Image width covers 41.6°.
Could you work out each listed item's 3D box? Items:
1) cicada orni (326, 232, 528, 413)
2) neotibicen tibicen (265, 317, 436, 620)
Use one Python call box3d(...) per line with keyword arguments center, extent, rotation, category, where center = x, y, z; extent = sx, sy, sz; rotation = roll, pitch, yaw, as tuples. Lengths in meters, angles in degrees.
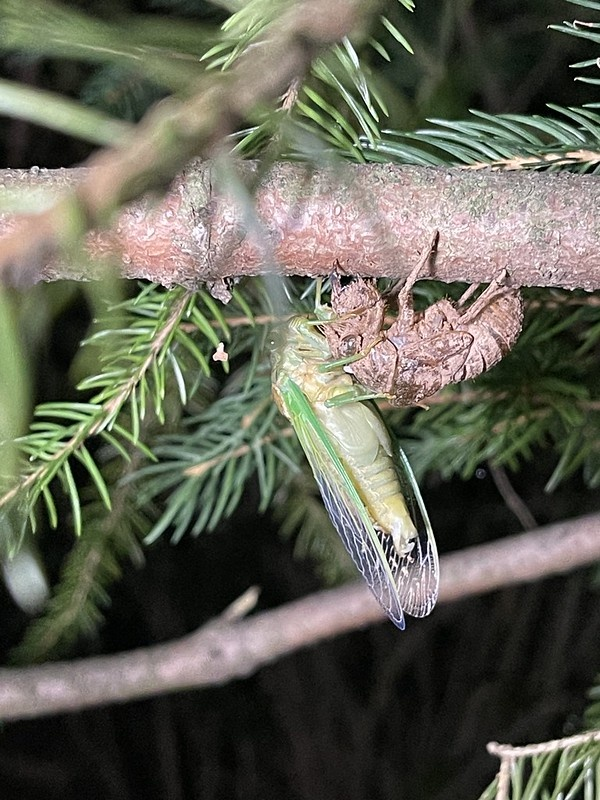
box3d(center=(0.075, -0.050, 0.492), extent=(0.121, 0.113, 0.050), rotation=(3, 21, 12), category="cicada orni")
box3d(center=(0.047, 0.053, 0.720), extent=(0.121, 0.307, 0.119), rotation=(-1, 38, 47), category="neotibicen tibicen")
